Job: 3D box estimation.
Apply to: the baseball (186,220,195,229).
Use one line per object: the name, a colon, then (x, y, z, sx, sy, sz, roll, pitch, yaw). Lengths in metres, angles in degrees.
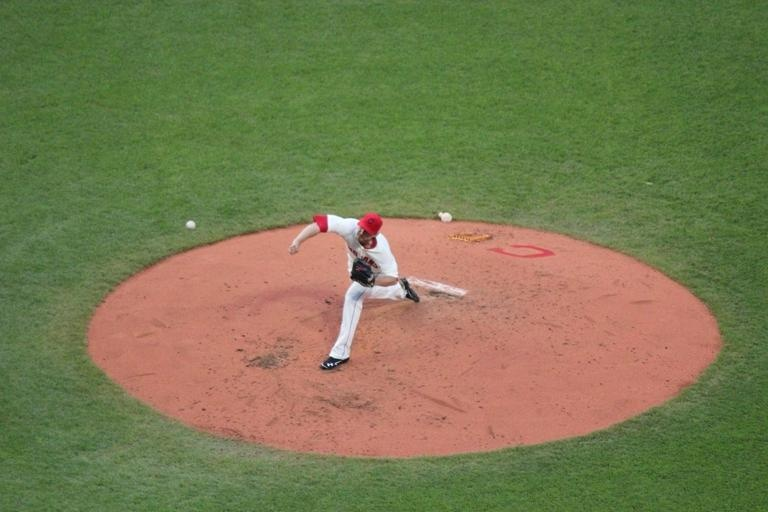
baseball: (-4.557, -0.708, 22.761, 0.220, 0.167, 0.200, -7, 29, 20)

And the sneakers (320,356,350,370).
sneakers: (-0.995, 2.137, 19.003, 0.633, 0.216, 0.206, -8, 28, -20)

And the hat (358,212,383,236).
hat: (-0.221, -0.621, 19.188, 0.467, 0.431, 0.459, -38, -6, -6)

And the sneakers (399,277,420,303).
sneakers: (0.518, 0.716, 20.164, 0.309, 0.692, 0.246, -37, 42, -3)
